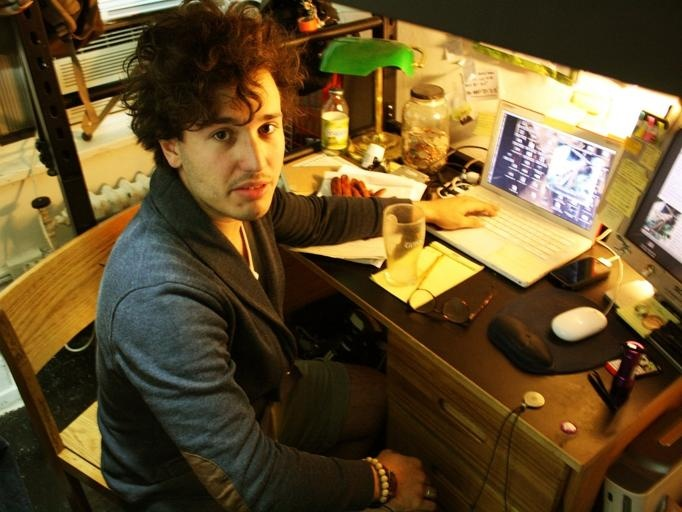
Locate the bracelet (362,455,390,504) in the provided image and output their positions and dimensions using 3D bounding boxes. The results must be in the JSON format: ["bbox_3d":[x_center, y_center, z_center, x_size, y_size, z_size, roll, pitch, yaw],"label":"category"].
[{"bbox_3d":[0.091,0.517,1.146,0.034,0.084,0.088,-7,14,-18],"label":"bracelet"}]

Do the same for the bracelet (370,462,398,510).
[{"bbox_3d":[0.100,0.525,1.136,0.036,0.086,0.082,-8,-1,1],"label":"bracelet"}]

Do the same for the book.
[{"bbox_3d":[0.256,0.049,1.316,0.238,0.018,0.162,-31,49,-28],"label":"book"}]

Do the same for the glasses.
[{"bbox_3d":[0.298,0.085,1.262,0.155,0.054,0.180,25,55,31],"label":"glasses"}]

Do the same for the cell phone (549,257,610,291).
[{"bbox_3d":[0.608,0.042,1.281,0.142,0.028,0.075,-20,42,-22],"label":"cell phone"}]
